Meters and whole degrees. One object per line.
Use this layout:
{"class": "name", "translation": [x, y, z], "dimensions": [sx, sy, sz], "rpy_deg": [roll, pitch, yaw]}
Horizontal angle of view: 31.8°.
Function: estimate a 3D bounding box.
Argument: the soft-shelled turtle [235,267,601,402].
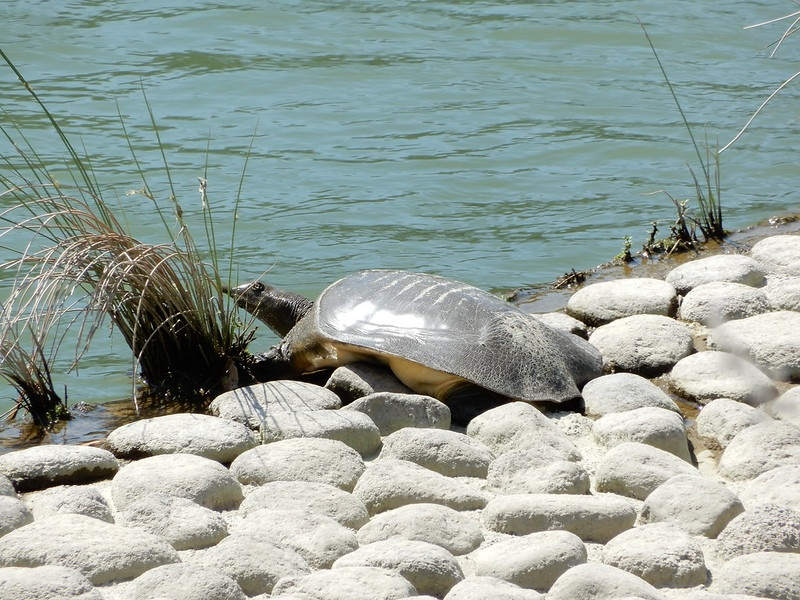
{"class": "soft-shelled turtle", "translation": [0.167, 0.201, 9.495], "dimensions": [2.111, 0.348, 1.236], "rpy_deg": [9, 4, 17]}
